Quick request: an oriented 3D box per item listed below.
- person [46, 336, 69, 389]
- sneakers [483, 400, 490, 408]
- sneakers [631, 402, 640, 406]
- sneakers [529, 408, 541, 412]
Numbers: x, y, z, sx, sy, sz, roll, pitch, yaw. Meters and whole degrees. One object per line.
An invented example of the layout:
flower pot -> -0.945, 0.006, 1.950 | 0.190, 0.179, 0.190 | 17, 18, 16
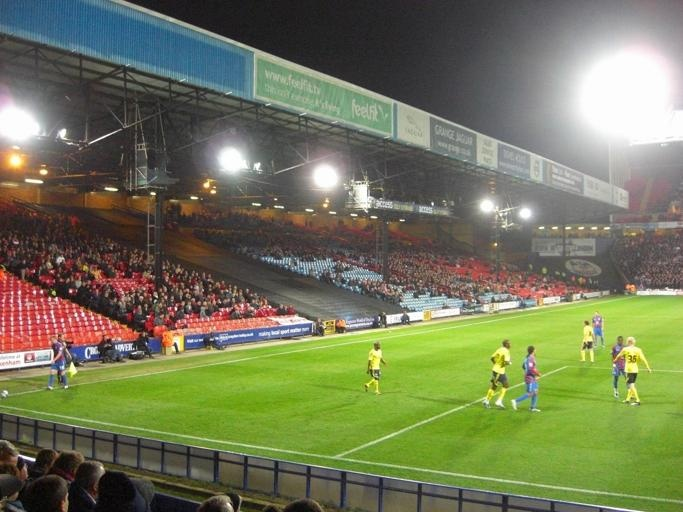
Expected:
person -> -11.429, 4.211, 27.918 | 0.749, 2.087, 1.472 | 0, -1, -23
sneakers -> 5.229, 5.296, 25.104 | 0.175, 0.295, 0.287 | 2, 5, 22
sneakers -> 10.555, 5.296, 24.909 | 0.291, 0.124, 0.110 | 1, -4, 10
sneakers -> 6.858, 5.414, 24.496 | 0.336, 0.142, 0.129 | 1, 1, 0
